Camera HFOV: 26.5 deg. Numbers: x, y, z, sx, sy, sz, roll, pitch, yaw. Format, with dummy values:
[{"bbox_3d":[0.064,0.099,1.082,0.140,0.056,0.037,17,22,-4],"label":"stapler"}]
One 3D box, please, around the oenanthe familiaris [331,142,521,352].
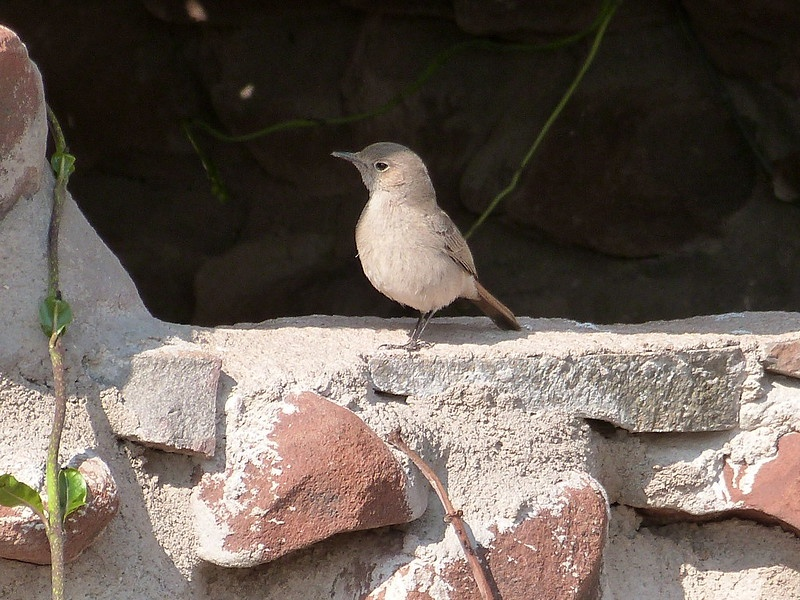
[{"bbox_3d":[0.119,-0.236,7.019,0.881,0.468,0.804,-2,93,-30],"label":"oenanthe familiaris"}]
